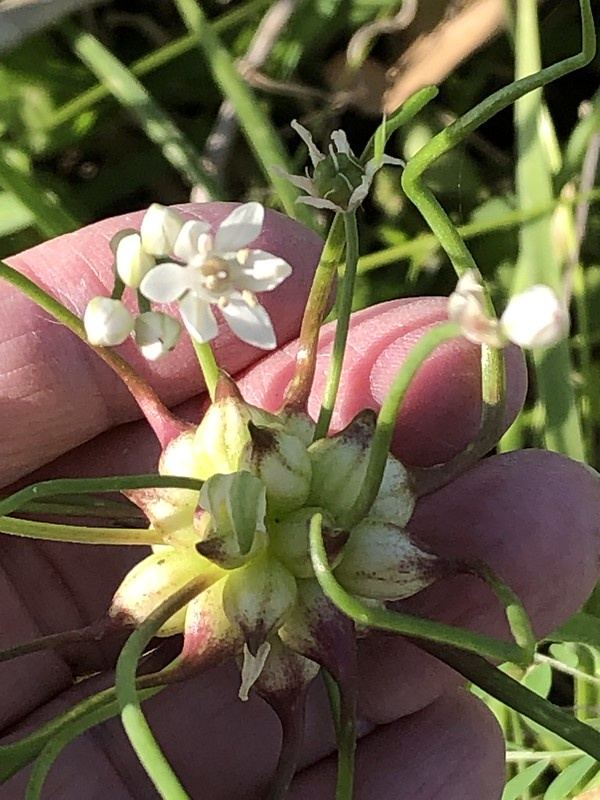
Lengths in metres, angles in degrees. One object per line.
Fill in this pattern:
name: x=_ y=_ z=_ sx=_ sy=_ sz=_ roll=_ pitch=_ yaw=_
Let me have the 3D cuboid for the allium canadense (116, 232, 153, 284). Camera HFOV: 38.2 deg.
allium canadense: x=-0.098 y=-0.082 z=0.496 sx=0.026 sy=0.027 sz=0.007 roll=-2 pitch=14 yaw=-1

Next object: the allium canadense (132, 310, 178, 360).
allium canadense: x=-0.085 y=-0.039 z=0.513 sx=0.029 sy=0.028 sz=0.023 roll=1 pitch=40 yaw=-31

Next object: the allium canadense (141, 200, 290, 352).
allium canadense: x=-0.050 y=-0.070 z=0.508 sx=0.083 sy=0.081 sz=0.097 roll=-4 pitch=4 yaw=-7

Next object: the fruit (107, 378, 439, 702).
fruit: x=-0.012 y=0.084 z=0.543 sx=0.190 sy=0.201 sz=0.143 roll=-5 pitch=5 yaw=-27

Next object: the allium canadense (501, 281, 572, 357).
allium canadense: x=0.114 y=-0.040 z=0.425 sx=0.032 sy=0.030 sz=0.026 roll=-2 pitch=4 yaw=11
